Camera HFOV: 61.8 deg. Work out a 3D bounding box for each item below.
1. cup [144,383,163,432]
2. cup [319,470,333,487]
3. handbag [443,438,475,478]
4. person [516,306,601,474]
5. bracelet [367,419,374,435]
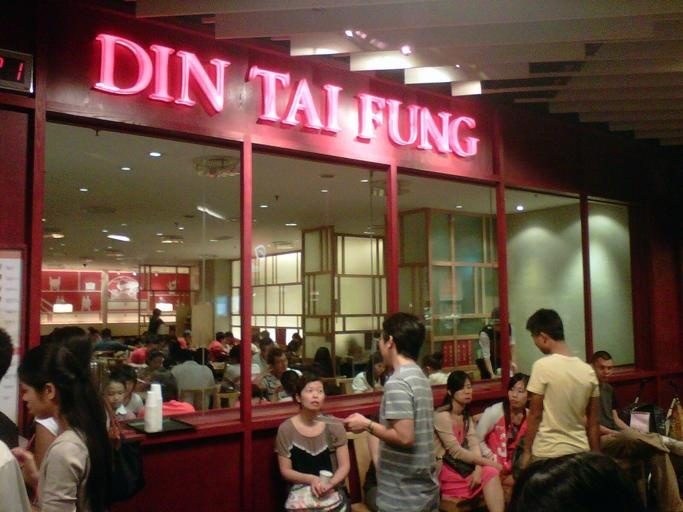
[{"bbox_3d":[-1.352,1.078,4.092,0.129,0.313,0.201,-1,-5,-19],"label":"cup"},{"bbox_3d":[-0.108,1.496,3.911,0.088,0.082,0.087,14,10,-2],"label":"cup"},{"bbox_3d":[0.935,1.618,4.505,0.194,0.059,0.145,38,4,-20],"label":"handbag"},{"bbox_3d":[1.610,1.296,4.251,0.557,1.796,0.452,0,6,1],"label":"person"},{"bbox_3d":[0.162,0.960,3.235,0.035,0.062,0.062,-2,-24,6],"label":"bracelet"}]
